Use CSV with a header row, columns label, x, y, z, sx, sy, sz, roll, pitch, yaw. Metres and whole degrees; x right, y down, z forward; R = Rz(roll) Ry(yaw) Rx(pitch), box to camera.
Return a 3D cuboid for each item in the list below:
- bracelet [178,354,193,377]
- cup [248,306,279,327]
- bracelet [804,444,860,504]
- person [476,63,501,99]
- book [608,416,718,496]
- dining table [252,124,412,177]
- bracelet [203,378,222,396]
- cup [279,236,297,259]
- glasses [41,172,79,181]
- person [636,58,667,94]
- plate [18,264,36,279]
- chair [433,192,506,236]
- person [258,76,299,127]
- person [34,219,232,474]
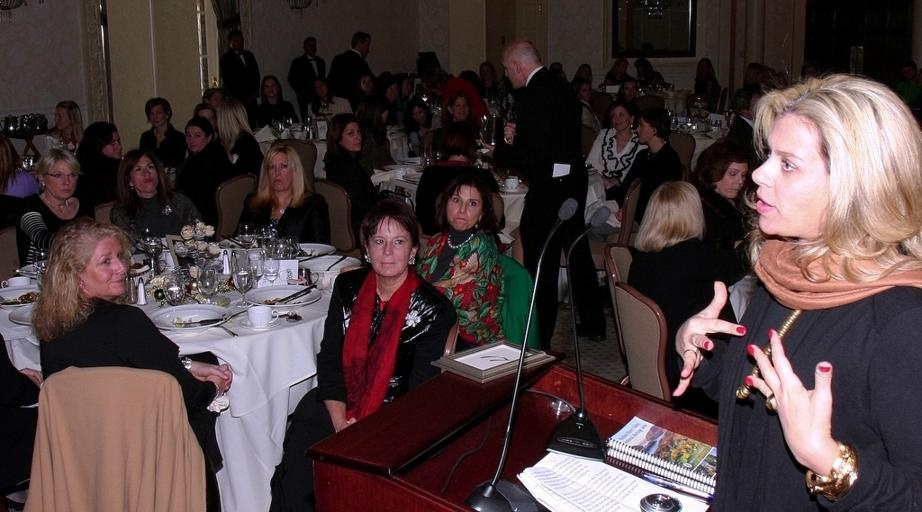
label,x,y,z,sx,sy,sz,roll,pitch,yaw
bracelet,-1.422,0.566,3.593,0.074,0.100,0.158,-5,-12,-14
cup,-1.084,0.330,3.770,0.108,0.084,0.133,2,2,6
bracelet,1.092,0.642,2.046,0.115,0.172,0.130,11,30,-13
person,0.461,-3.021,11.812,0.337,0.605,0.842,-3,12,2
book,0.721,0.711,2.424,0.282,0.069,0.202,18,33,30
dining table,-1.775,-1.183,8.167,1.260,0.315,1.354,8,19,14
bracelet,-1.269,0.684,3.541,0.039,0.117,0.046,-3,42,28
cup,-1.107,-0.043,4.476,0.129,0.120,0.127,0,1,0
glasses,-2.884,-0.574,4.935,0.208,0.057,0.075,-10,13,-30
person,3.476,-3.294,12.535,0.517,0.658,1.122,0,12,14
plate,-2.787,0.102,4.420,0.119,0.030,0.118,9,16,12
chair,0.056,-0.308,4.428,0.387,0.331,0.498,-1,7,5
person,-2.797,-2.319,10.260,0.535,0.702,0.463,-5,12,-10
person,-1.715,0.514,3.594,0.768,1.405,0.878,18,23,38
